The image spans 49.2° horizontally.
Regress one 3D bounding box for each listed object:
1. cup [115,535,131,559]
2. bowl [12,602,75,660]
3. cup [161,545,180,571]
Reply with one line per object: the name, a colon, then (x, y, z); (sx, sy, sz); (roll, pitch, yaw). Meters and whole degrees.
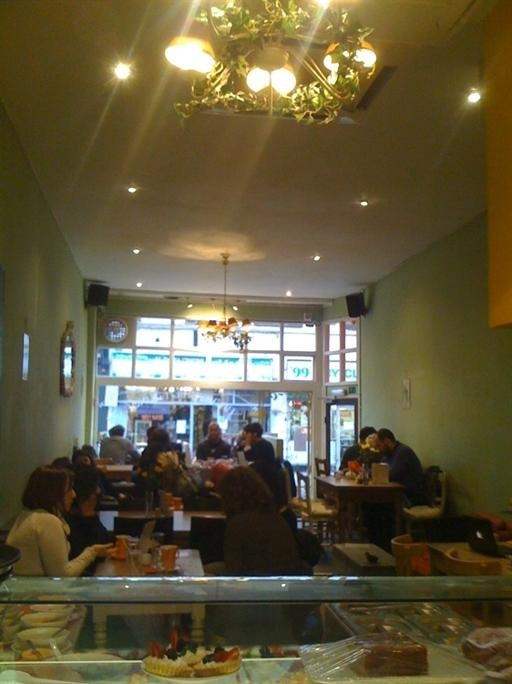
cup: (-0.750, 1.158, 3.161); (0.084, 0.132, 0.136); (2, -6, -8)
bowl: (-0.496, 0.669, 1.302); (0.105, 0.044, 0.105); (4, 3, 0)
cup: (-0.453, 1.140, 2.953); (0.087, 0.126, 0.131); (-2, -12, -3)
